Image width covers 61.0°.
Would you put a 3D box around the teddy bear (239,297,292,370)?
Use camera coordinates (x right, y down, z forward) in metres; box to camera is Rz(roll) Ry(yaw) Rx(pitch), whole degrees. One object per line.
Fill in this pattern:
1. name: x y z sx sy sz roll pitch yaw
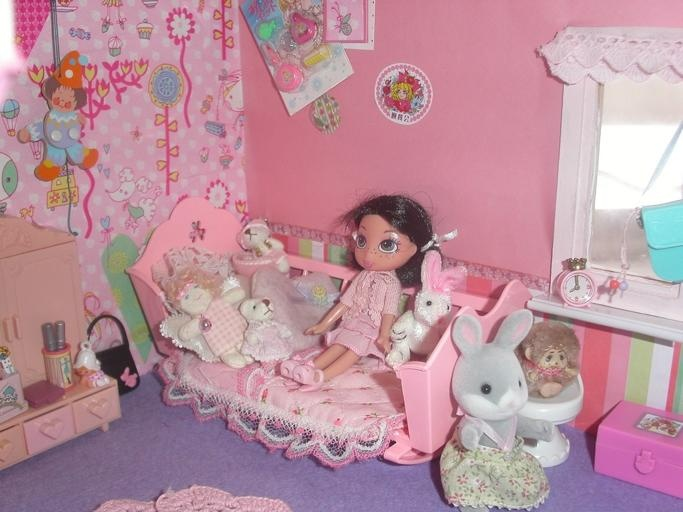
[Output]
1. teddy bear: -0.522 0.537 3.889 0.355 0.412 0.244 -2 -19 -47

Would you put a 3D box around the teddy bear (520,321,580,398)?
1. teddy bear: 1.291 0.621 3.547 0.325 0.465 0.266 -2 28 5

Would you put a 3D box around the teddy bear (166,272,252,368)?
1. teddy bear: -0.915 0.402 3.985 0.642 0.581 0.426 3 13 -2

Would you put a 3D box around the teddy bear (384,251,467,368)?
1. teddy bear: 0.530 0.348 3.666 0.395 0.670 0.387 18 30 -7
